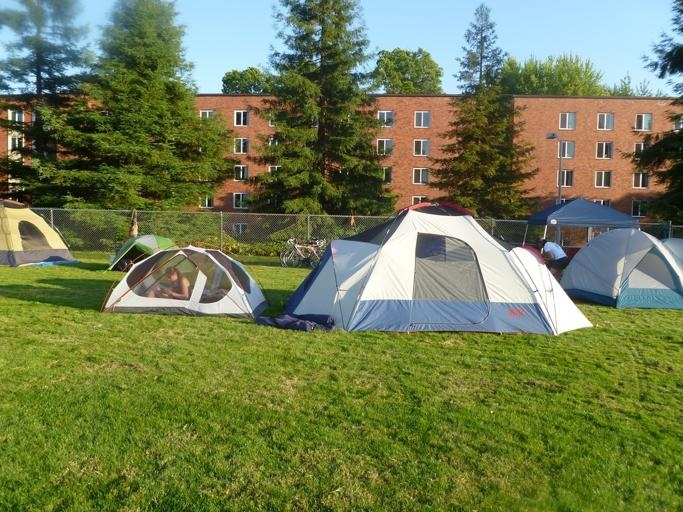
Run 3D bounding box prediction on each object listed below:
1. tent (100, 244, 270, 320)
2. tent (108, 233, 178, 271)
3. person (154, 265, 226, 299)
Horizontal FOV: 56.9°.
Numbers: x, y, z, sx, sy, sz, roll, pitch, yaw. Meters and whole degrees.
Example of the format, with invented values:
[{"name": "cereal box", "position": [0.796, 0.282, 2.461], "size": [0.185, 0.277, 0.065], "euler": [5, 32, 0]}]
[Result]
[{"name": "tent", "position": [-3.560, 0.295, 13.645], "size": [2.390, 0.880, 2.673], "euler": [23, 5, 27]}, {"name": "tent", "position": [-6.043, -0.167, 18.738], "size": [1.959, 0.808, 1.602], "euler": [-3, 8, -9]}, {"name": "person", "position": [-3.192, 0.428, 13.380], "size": [0.988, 0.403, 0.937], "euler": [1, 3, 0]}]
